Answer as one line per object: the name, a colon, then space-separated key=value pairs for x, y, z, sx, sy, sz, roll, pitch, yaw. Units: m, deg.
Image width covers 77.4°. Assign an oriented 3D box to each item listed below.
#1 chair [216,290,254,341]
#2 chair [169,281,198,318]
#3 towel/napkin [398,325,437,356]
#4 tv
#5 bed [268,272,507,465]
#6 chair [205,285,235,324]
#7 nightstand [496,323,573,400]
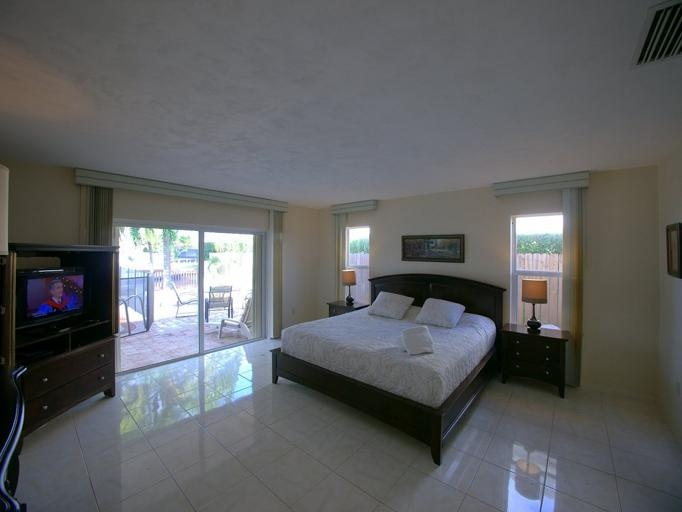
chair: x=-1.737 y=1.046 z=7.226 sx=0.608 sy=0.872 sz=0.555 roll=1 pitch=-7 yaw=-10
chair: x=-2.289 y=0.669 z=6.330 sx=0.446 sy=0.630 sz=0.345 roll=-1 pitch=2 yaw=-18
towel/napkin: x=0.832 y=0.909 z=4.562 sx=0.247 sy=0.261 sz=0.095 roll=-16 pitch=-42 yaw=9
tv: x=-3.111 y=0.451 z=4.552 sx=0.093 sy=0.553 sz=0.716 roll=0 pitch=0 yaw=18
bed: x=1.026 y=1.314 z=5.162 sx=2.066 sy=1.363 sz=2.076 roll=1 pitch=0 yaw=41
chair: x=-1.899 y=0.707 z=6.681 sx=0.397 sy=0.703 sz=0.459 roll=1 pitch=-1 yaw=-35
nightstand: x=2.458 y=1.206 z=5.456 sx=0.913 sy=0.967 sz=0.651 roll=-3 pitch=-7 yaw=32
